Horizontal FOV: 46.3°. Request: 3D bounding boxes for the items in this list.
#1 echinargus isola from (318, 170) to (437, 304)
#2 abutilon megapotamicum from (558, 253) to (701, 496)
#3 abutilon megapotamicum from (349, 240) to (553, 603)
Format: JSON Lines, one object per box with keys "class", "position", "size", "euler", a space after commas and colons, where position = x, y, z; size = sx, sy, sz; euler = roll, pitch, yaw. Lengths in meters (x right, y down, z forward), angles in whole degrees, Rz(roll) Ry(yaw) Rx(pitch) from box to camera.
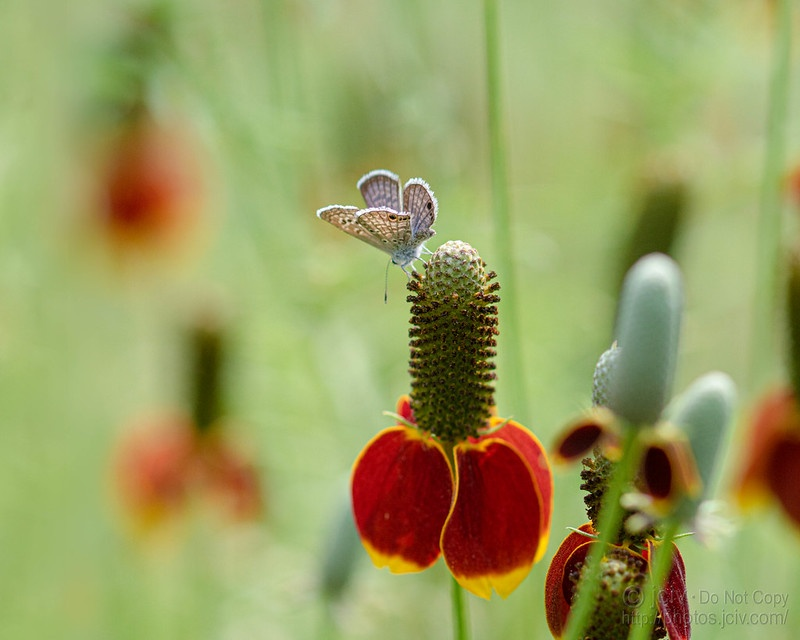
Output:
{"class": "echinargus isola", "position": [0.002, -0.094, 1.225], "size": [0.081, 0.078, 0.112], "euler": [-9, -23, 42]}
{"class": "abutilon megapotamicum", "position": [0.216, 0.055, 0.876], "size": [0.092, 0.233, 0.151], "euler": [-2, 3, -20]}
{"class": "abutilon megapotamicum", "position": [0.060, 0.104, 1.055], "size": [0.206, 0.387, 0.166], "euler": [1, 4, 29]}
